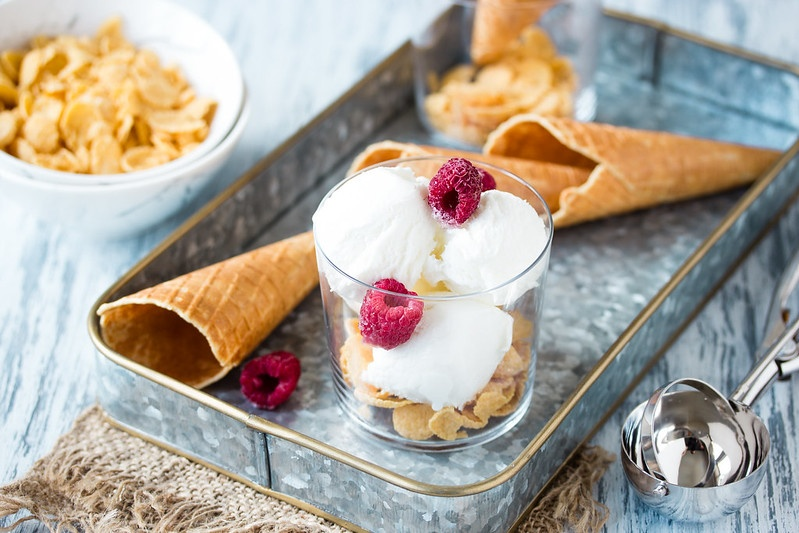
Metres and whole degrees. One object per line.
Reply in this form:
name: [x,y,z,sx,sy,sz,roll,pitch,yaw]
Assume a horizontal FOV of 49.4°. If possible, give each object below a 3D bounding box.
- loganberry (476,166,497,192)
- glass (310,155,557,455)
loganberry: [0.155,-0.152,1.480,0.031,0.024,0.040,1,30,3]
glass: [0.057,0.023,1.597,0.416,0.472,0.478,-3,32,-1]
